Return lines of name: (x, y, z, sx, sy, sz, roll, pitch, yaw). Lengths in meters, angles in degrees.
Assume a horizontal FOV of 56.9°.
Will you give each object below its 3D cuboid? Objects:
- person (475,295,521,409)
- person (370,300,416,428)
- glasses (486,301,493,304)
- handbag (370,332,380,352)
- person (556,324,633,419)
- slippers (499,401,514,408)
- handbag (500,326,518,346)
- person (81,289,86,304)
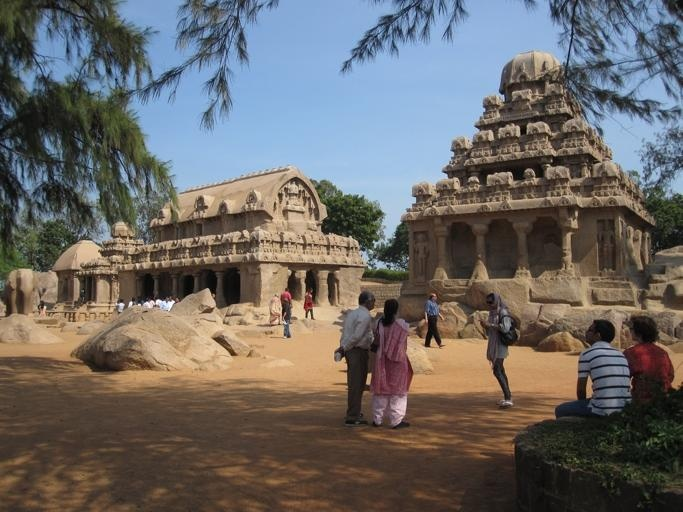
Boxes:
person: (2.420, 1.388, 9.609, 0.533, 1.729, 0.623, -1, -8, 13)
person: (0.659, 1.391, 8.311, 0.515, 1.661, 0.353, -1, -8, 11)
glasses: (2.286, 0.701, 9.681, 0.072, 0.042, 0.045, 5, -7, -6)
handbag: (0.453, 1.152, 8.419, 0.077, 0.217, 0.149, 11, -10, -12)
person: (2.725, 1.187, 6.745, 0.677, 1.049, 0.718, -3, -9, 25)
slippers: (2.484, 2.181, 9.381, 0.231, 0.111, 0.080, 0, 0, 36)
handbag: (2.486, 1.163, 9.381, 0.197, 0.363, 0.279, 5, -4, -26)
person: (-19.001, 2.894, 46.599, 0.455, 0.980, 1.323, 4, -9, -22)
